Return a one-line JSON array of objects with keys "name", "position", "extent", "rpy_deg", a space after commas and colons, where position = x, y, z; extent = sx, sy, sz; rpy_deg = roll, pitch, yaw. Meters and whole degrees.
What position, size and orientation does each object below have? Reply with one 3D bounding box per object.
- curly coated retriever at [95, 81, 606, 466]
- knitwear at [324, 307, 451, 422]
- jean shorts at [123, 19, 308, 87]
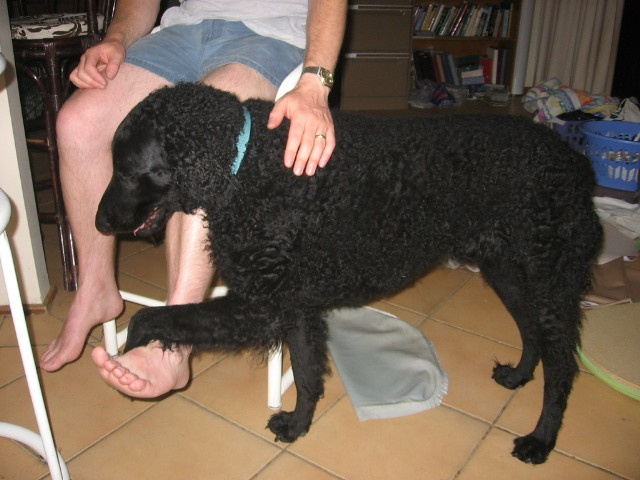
[{"name": "curly coated retriever", "position": [0.109, 0.138, 2.047], "extent": [1.669, 1.205, 0.413], "rpy_deg": [2, 24, -2]}, {"name": "knitwear", "position": [0.284, 0.508, 2.476], "extent": [0.400, 0.069, 0.626], "rpy_deg": [-7, 28, -9]}, {"name": "jean shorts", "position": [-0.418, -0.744, 2.536], "extent": [0.742, 0.312, 0.569], "rpy_deg": [10, 19, -2]}]
